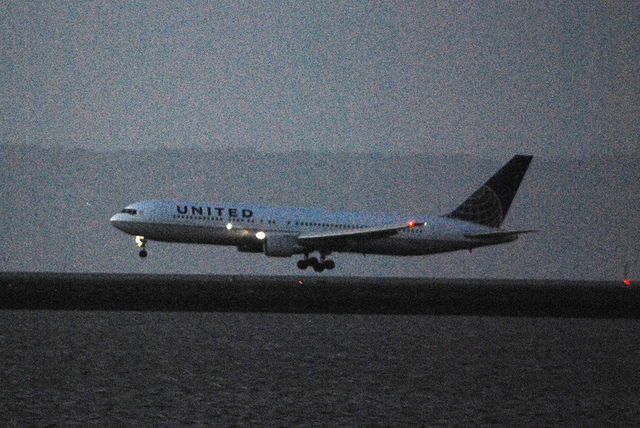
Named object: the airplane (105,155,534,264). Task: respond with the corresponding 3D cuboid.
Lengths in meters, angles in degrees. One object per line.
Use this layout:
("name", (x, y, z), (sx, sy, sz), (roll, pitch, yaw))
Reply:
("airplane", (0.930, 0.348, 46.755), (20.008, 4.431, 2.860), (-4, 14, -26))
